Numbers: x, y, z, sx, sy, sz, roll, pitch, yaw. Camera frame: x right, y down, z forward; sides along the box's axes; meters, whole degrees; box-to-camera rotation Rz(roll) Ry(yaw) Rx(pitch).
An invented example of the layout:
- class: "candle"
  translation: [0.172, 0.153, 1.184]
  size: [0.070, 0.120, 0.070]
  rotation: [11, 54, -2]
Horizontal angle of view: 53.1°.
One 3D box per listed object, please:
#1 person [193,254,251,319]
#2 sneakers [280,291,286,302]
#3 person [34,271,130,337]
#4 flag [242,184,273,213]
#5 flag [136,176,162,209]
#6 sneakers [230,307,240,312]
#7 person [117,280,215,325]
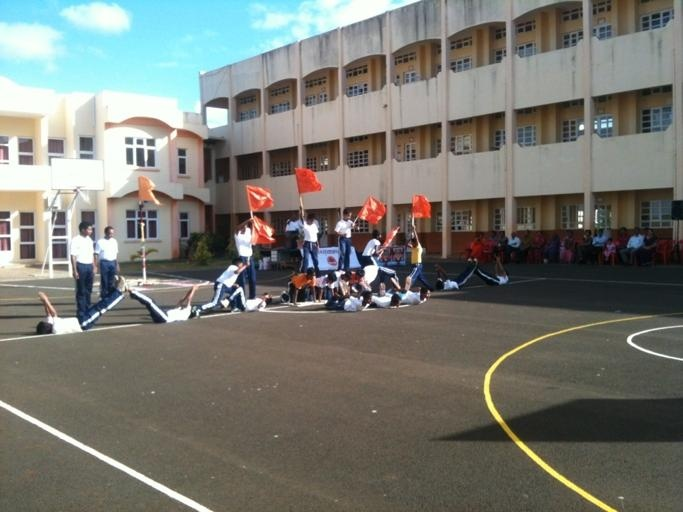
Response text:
- class: "person"
  translation: [-2.714, 0.680, 15.613]
  size: [1.295, 1.449, 0.782]
  rotation: [3, 13, -22]
- class: "sneakers"
  translation: [-1.468, 1.066, 17.520]
  size: [0.151, 0.242, 0.211]
  rotation: [-4, -1, -5]
- class: "person"
  translation: [-5.287, 1.015, 13.821]
  size: [1.652, 0.780, 1.032]
  rotation: [-3, 2, -30]
- class: "flag"
  translation: [-2.196, -1.542, 18.270]
  size: [0.585, 0.759, 1.471]
  rotation: [-2, 1, -9]
- class: "flag"
  translation: [-6.731, -2.300, 23.588]
  size: [0.493, 1.024, 1.743]
  rotation: [-3, 1, -18]
- class: "sneakers"
  translation: [-2.527, 1.275, 16.180]
  size: [0.223, 0.117, 0.108]
  rotation: [-5, -2, 34]
- class: "person"
  translation: [-3.864, 1.039, 14.919]
  size: [1.314, 0.521, 1.992]
  rotation: [-3, 1, -15]
